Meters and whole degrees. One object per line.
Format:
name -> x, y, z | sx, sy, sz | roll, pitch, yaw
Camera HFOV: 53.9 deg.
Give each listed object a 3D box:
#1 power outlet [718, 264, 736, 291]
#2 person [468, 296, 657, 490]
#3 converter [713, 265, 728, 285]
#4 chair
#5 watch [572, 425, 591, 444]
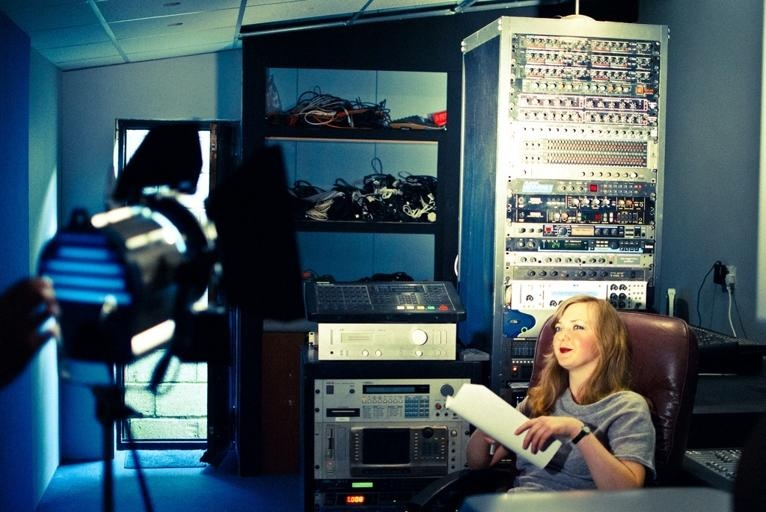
power outlet -> 2.353, 0.145, 5.109 | 0.033, 0.171, 0.109 | -4, 3, -35
person -> 1.082, 0.743, 4.187 | 1.003, 1.116, 0.955 | 7, -7, -34
converter -> 2.317, 0.126, 5.148 | 0.030, 0.112, 0.112 | -1, 5, -34
chair -> 0.802, 0.804, 4.158 | 1.309, 1.438, 1.008 | 14, -8, -36
watch -> 0.940, 0.839, 3.565 | 0.067, 0.039, 0.060 | -16, -32, -40
